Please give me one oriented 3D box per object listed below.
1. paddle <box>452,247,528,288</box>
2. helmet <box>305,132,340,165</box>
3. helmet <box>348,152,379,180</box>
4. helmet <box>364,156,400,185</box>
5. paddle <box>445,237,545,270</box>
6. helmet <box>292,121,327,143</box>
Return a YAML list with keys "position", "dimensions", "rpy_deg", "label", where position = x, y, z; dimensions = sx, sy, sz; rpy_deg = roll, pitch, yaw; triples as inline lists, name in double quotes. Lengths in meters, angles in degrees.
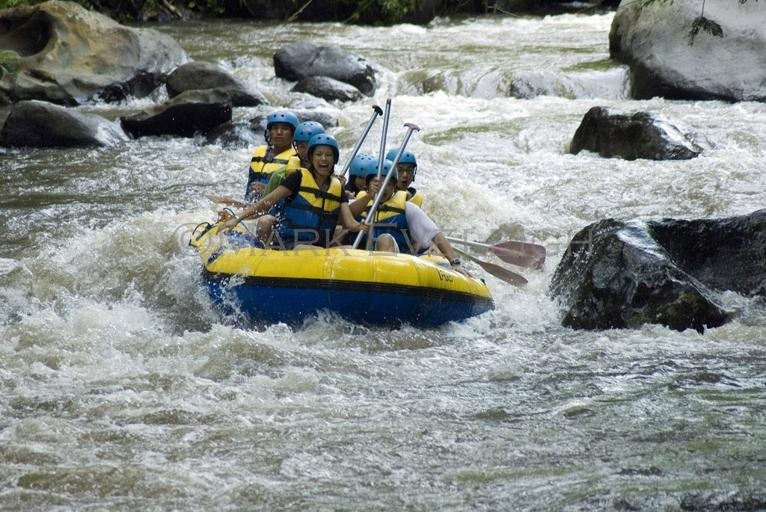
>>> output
- position: [1.702, 0.183, 20.025]
  dimensions: [1.046, 0.113, 0.115]
  rpy_deg: [34, 4, -16]
  label: "paddle"
- position: [-0.890, -1.723, 19.148]
  dimensions: [0.380, 0.388, 0.489]
  rpy_deg: [9, 31, -9]
  label: "helmet"
- position: [-0.307, -1.443, 19.939]
  dimensions: [0.311, 0.359, 0.400]
  rpy_deg: [6, 32, 1]
  label: "helmet"
- position: [-0.027, -1.343, 19.722]
  dimensions: [0.343, 0.397, 0.439]
  rpy_deg: [1, 12, -20]
  label: "helmet"
- position: [1.802, -0.049, 20.243]
  dimensions: [1.581, 0.276, 0.178]
  rpy_deg: [14, -4, -8]
  label: "paddle"
- position: [-1.150, -1.956, 19.629]
  dimensions: [0.326, 0.365, 0.403]
  rpy_deg: [1, 12, 4]
  label: "helmet"
